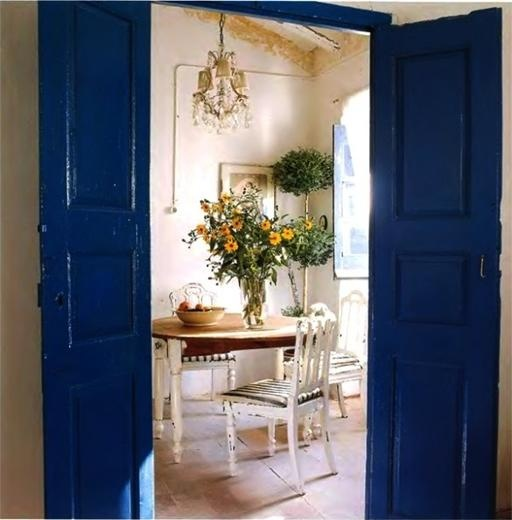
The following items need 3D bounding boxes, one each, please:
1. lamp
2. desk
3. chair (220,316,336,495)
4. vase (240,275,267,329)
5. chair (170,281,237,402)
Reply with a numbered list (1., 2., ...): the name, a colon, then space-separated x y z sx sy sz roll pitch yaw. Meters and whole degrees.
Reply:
1. lamp: -0.226 -1.352 3.629 0.331 0.897 0.345 1 -1 -14
2. desk: -0.302 0.922 3.441 0.812 0.690 0.879 12 -11 -18
3. chair: 0.150 0.783 2.981 0.494 0.946 0.489 2 1 37
4. vase: -0.010 0.261 3.277 0.210 0.328 0.222 -3 7 -23
5. chair: -0.413 0.655 4.014 0.430 0.914 0.435 -4 -2 -9
